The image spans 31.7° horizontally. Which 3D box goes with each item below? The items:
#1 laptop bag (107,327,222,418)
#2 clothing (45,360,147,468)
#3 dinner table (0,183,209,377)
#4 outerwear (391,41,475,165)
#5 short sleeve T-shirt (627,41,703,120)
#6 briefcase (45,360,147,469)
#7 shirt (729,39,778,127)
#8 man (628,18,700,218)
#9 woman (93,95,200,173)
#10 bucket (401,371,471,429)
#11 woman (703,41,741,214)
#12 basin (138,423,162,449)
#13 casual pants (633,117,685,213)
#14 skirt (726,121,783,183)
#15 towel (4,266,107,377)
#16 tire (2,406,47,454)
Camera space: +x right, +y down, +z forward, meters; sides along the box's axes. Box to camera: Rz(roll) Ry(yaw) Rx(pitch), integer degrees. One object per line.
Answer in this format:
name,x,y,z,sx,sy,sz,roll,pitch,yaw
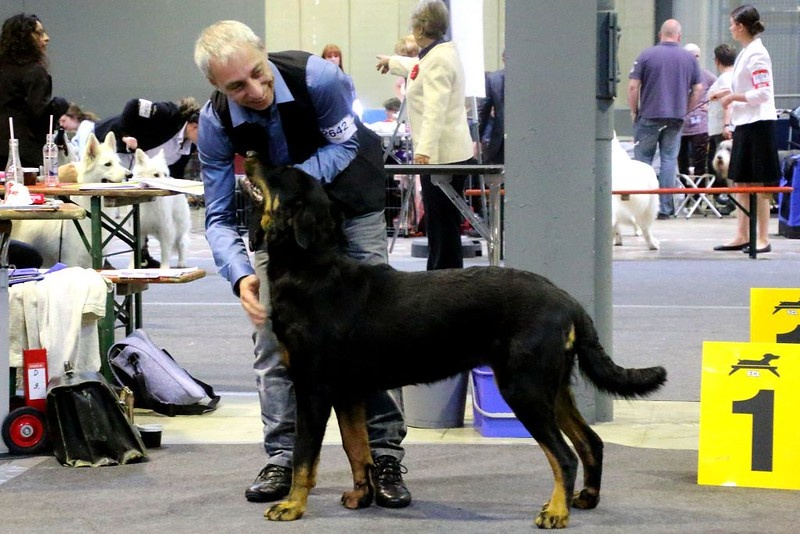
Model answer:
laptop bag,-2.188,0.973,12.817,1.085,0.394,0.816,28,11,-17
clothing,-2.622,1.203,11.902,0.737,0.860,1.254,-12,6,-20
dinner table,-2.820,0.092,13.446,1.844,1.657,1.830,-1,3,20
outerwear,0.350,-1.831,15.079,1.037,1.297,1.765,2,15,-4
short sleeve T-shirt,3.780,-2.672,20.219,0.861,1.104,0.439,0,7,8
briefcase,-2.624,1.193,11.914,0.737,0.849,1.284,-11,9,-18
shirt,4.412,-2.298,17.635,0.535,1.089,0.481,1,7,19
man,3.803,-2.154,20.659,1.176,2.944,0.939,6,-2,5
woman,-3.136,-1.726,17.968,0.832,0.627,1.670,20,-7,-39
bucket,0.317,1.167,12.093,0.563,0.429,0.592,-1,-8,0
woman,5.059,-2.261,22.042,0.689,2.254,0.740,2,3,43
basin,-2.087,1.422,11.740,0.202,0.133,0.191,-1,-8,0
casual pants,3.791,-1.549,20.742,0.674,1.372,0.437,3,-10,1
skirt,4.575,-1.468,18.173,0.858,0.964,0.747,3,13,30
towel,-2.839,0.434,12.360,1.171,0.994,0.821,-1,-4,-5
tire,-3.099,1.363,11.607,0.437,0.392,0.148,-1,-2,-9
